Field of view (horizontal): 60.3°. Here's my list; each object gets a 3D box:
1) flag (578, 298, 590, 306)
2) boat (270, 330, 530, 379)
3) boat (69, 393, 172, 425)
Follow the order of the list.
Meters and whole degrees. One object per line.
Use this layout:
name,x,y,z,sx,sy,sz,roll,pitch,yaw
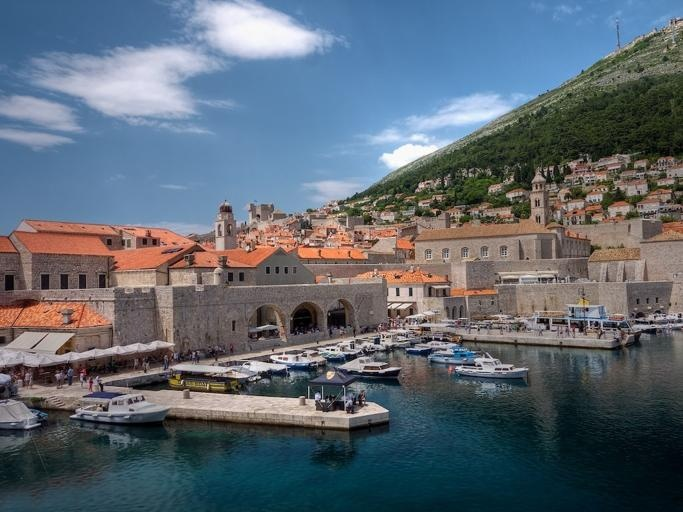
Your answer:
flag,32.226,6.009,78.142,0.981,0.566,0.817,9,-27,5
boat,3.867,9.837,59.462,20.138,2.634,14.865,-6,11,-36
boat,-15.290,10.644,41.694,6.325,1.864,5.195,0,-5,-45
